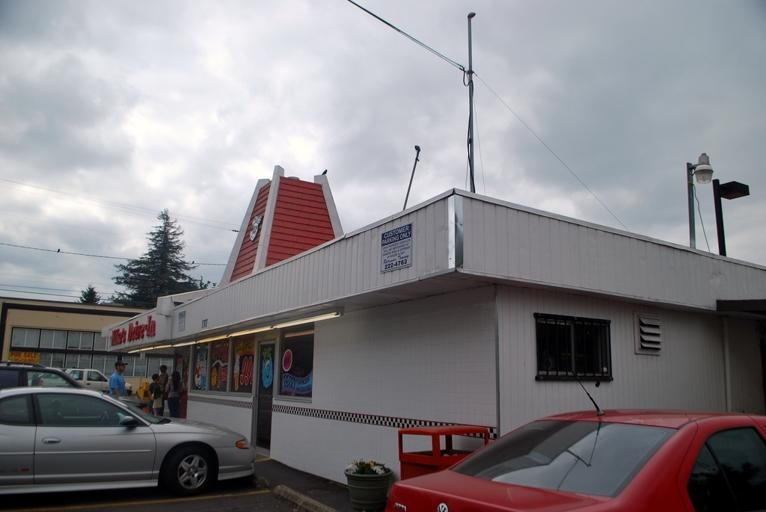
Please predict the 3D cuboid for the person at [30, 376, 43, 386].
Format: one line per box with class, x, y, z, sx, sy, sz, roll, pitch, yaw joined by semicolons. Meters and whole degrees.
person;-7.896;2.845;12.398;0.247;0.201;0.799;-4;-8;-33
